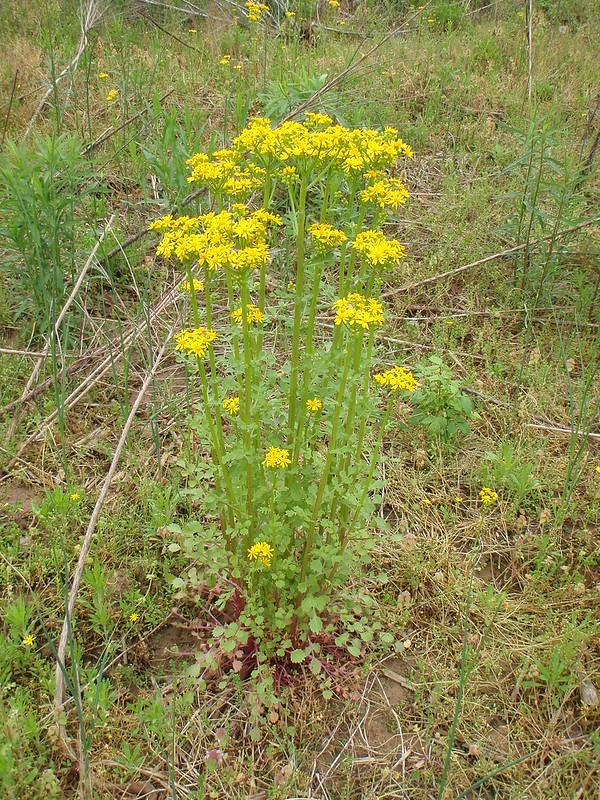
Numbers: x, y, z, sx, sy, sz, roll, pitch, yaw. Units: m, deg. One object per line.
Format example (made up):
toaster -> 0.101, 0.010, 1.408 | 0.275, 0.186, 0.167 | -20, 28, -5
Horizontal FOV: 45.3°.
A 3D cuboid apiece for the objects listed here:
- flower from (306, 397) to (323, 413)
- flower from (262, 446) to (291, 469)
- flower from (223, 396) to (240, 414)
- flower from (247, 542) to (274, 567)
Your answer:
flower -> 0.046, 0.018, 2.514 | 0.053, 0.011, 0.053 | 20, 51, -5
flower -> -0.078, 0.207, 2.407 | 0.087, 0.029, 0.089 | -30, 59, -32
flower -> -0.227, 0.018, 2.437 | 0.057, 0.019, 0.053 | 8, 15, -18
flower -> -0.140, 0.542, 2.529 | 0.111, 0.105, 0.095 | -1, 67, -12
